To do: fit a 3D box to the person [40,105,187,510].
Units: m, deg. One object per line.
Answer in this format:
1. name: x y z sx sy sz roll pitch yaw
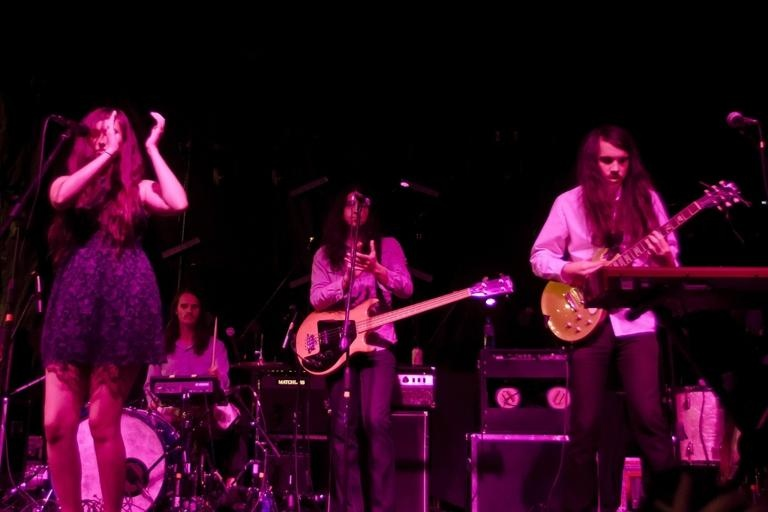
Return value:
1. person: -1.719 0.280 4.561 0.761 2.563 0.380 3 -7 -22
